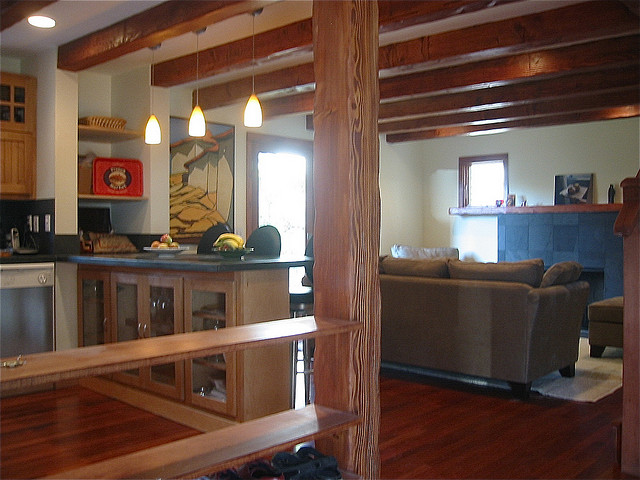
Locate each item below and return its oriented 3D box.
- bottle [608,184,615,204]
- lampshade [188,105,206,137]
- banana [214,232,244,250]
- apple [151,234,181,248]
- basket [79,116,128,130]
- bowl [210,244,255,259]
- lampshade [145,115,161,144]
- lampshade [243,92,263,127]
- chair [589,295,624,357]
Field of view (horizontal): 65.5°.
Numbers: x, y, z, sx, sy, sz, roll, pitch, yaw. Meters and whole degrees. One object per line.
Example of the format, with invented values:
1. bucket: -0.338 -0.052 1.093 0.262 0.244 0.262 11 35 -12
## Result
1. bottle: 4.448 -0.716 7.583 0.083 0.284 0.149 1 3 29
2. lampshade: -1.077 -1.056 4.345 0.127 0.286 0.262 -1 2 -11
3. banana: -0.665 0.010 3.735 0.136 0.105 0.184 2 -2 -4
4. apple: -1.330 0.022 4.382 0.204 0.097 0.211 -1 -4 23
5. basket: -2.283 -1.246 5.227 0.449 0.156 0.256 -1 2 -27
6. bowl: -0.646 0.084 3.687 0.246 0.112 0.183 1 2 37
7. lampshade: -1.535 -1.014 4.547 0.122 0.250 0.246 -1 2 -22
8. lampshade: -0.570 -1.119 4.210 0.134 0.330 0.350 -1 2 -9
9. chair: 3.143 0.926 5.472 0.310 0.453 0.223 1 2 28
